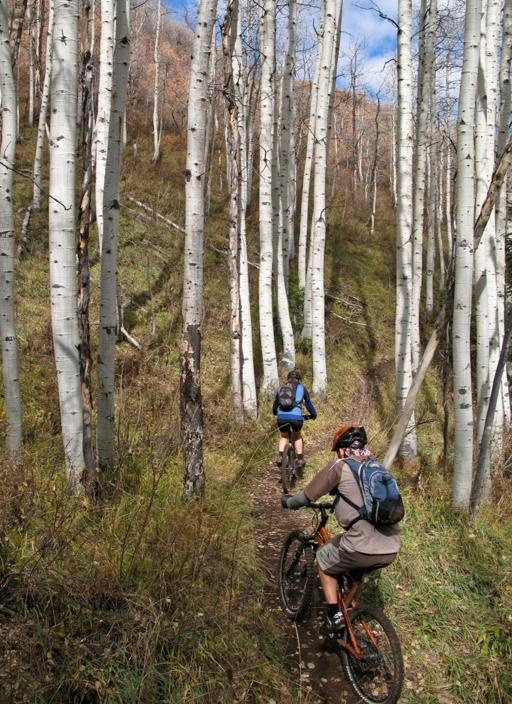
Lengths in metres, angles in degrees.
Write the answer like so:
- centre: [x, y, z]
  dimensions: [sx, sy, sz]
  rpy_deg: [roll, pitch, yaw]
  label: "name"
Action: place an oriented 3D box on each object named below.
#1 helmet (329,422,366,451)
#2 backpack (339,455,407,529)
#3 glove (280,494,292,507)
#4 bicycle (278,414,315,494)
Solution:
- centre: [0.747, 0.663, 5.408]
  dimensions: [0.234, 0.258, 0.189]
  rpy_deg: [-21, 26, -11]
  label: "helmet"
- centre: [0.841, 1.104, 5.081]
  dimensions: [0.334, 0.614, 0.552]
  rpy_deg: [4, -25, -27]
  label: "backpack"
- centre: [0.256, 1.290, 5.696]
  dimensions: [0.080, 0.134, 0.047]
  rpy_deg: [7, 4, -38]
  label: "glove"
- centre: [0.493, 1.373, 9.094]
  dimensions: [0.499, 0.954, 1.310]
  rpy_deg: [1, -4, 11]
  label: "bicycle"
